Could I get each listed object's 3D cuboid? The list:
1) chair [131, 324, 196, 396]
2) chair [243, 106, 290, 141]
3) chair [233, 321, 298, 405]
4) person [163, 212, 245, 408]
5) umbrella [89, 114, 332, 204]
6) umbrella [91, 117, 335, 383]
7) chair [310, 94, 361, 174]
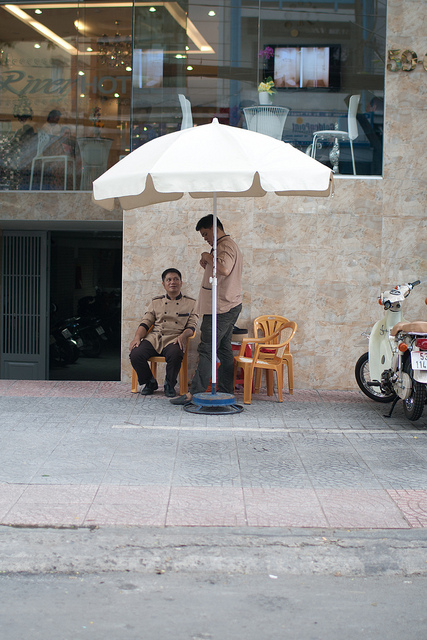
[{"bbox_3d":[-0.746,0.544,8.055,0.900,1.162,1.003,1,-1,2],"label":"chair"},{"bbox_3d":[0.766,-2.834,8.262,0.602,0.416,0.578,1,-11,-3],"label":"chair"},{"bbox_3d":[0.616,0.500,7.509,0.851,0.937,0.810,4,5,27],"label":"chair"},{"bbox_3d":[-0.023,-0.115,7.319,0.750,2.272,1.449,1,2,2],"label":"person"},{"bbox_3d":[0.137,-1.701,6.580,2.348,0.729,2.268,0,8,14],"label":"umbrella"},{"bbox_3d":[0.062,-0.428,6.636,2.195,3.404,2.228,1,3,6],"label":"umbrella"},{"bbox_3d":[1.753,-2.674,8.617,0.785,1.205,0.741,0,21,7],"label":"chair"}]
